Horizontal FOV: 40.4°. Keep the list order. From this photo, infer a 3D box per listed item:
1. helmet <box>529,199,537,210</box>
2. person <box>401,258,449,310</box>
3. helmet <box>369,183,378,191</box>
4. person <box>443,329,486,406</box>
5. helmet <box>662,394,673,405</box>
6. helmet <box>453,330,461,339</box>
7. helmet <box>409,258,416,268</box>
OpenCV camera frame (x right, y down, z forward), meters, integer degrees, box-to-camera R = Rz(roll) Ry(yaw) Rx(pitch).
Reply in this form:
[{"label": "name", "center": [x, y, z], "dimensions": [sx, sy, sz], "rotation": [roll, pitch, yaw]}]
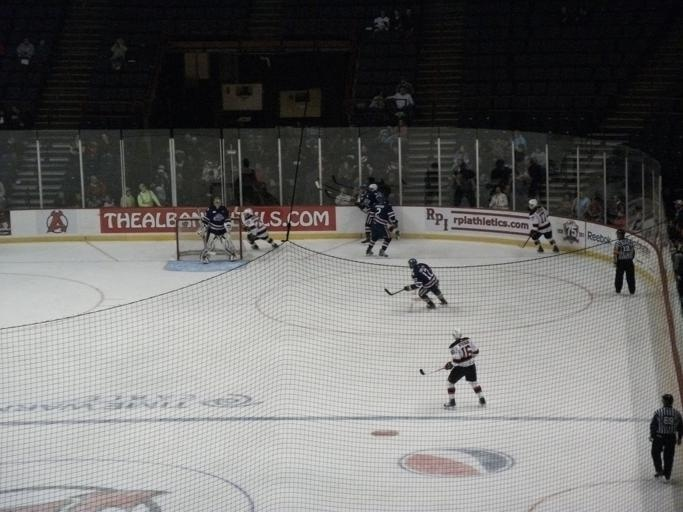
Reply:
[{"label": "helmet", "center": [5.746, -1.576, 27.747], "dimensions": [0.236, 0.290, 0.311], "rotation": [3, 10, 41]}, {"label": "person", "center": [2.128, 0.690, 23.510], "dimensions": [0.926, 1.245, 1.163], "rotation": [1, 2, 16]}, {"label": "helmet", "center": [1.028, -2.248, 30.048], "dimensions": [0.314, 0.270, 0.252], "rotation": [4, 5, 9]}, {"label": "person", "center": [2.573, 2.275, 19.297], "dimensions": [0.840, 1.551, 1.403], "rotation": [0, 2, 8]}, {"label": "helmet", "center": [5.847, 2.556, 16.601], "dimensions": [0.166, 0.163, 0.183], "rotation": [-1, -10, 8]}, {"label": "helmet", "center": [2.333, 1.577, 18.918], "dimensions": [0.155, 0.120, 0.170], "rotation": [-7, 9, -44]}, {"label": "helmet", "center": [1.790, 0.175, 23.441], "dimensions": [0.212, 0.215, 0.223], "rotation": [-1, -1, 0]}]
